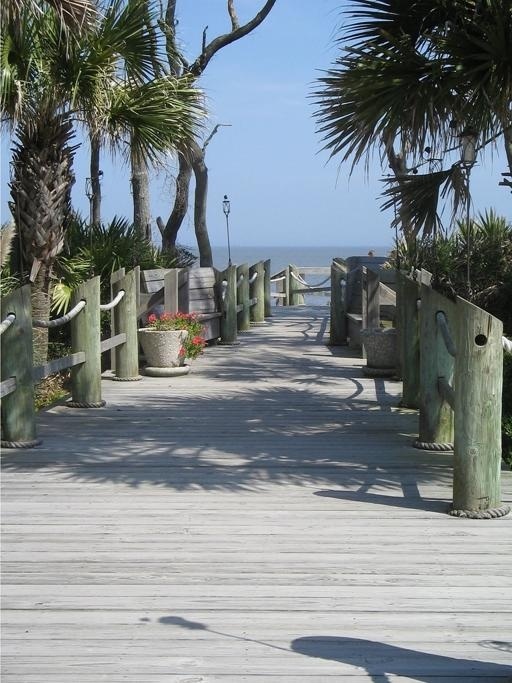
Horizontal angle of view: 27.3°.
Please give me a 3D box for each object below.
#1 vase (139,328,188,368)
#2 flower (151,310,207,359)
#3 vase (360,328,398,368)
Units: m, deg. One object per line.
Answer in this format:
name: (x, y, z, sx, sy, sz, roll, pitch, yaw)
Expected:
vase: (-0.867, 0.050, 9.449, 0.355, 0.281, 0.365, 1, -1, 0)
flower: (-0.747, -0.095, 9.701, 0.426, 0.327, 0.421, -1, 5, -34)
vase: (1.074, 0.048, 9.402, 0.287, 0.368, 0.349, 1, 7, 9)
